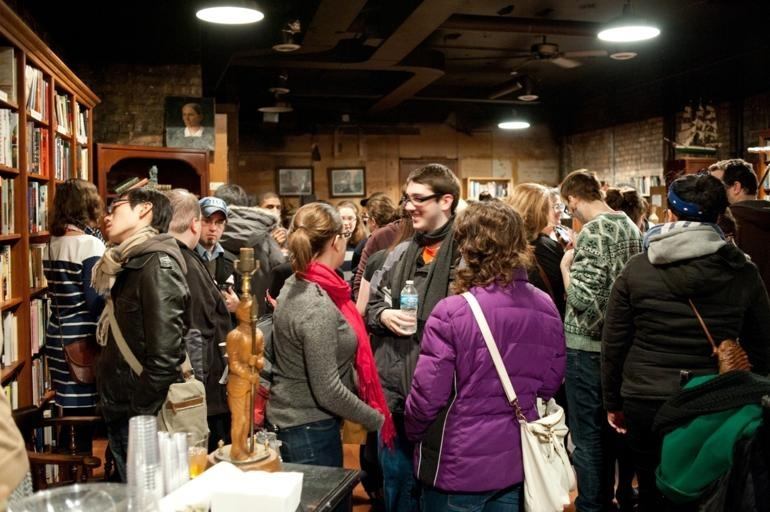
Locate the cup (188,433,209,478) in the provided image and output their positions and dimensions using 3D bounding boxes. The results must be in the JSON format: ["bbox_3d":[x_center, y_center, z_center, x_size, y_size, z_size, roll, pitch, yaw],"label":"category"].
[{"bbox_3d":[-0.880,0.954,2.949,0.134,0.142,0.136,-6,-20,-2],"label":"cup"}]

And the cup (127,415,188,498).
[{"bbox_3d":[-0.934,0.825,2.625,0.242,0.331,0.125,0,-2,-22],"label":"cup"}]

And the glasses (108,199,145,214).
[{"bbox_3d":[-1.531,-0.275,3.721,0.128,0.037,0.104,2,-4,-40],"label":"glasses"}]

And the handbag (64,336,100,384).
[{"bbox_3d":[-1.982,0.722,4.315,0.292,0.274,0.096,-19,-3,21],"label":"handbag"}]

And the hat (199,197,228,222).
[{"bbox_3d":[-1.289,-0.356,4.697,0.142,0.103,0.197,5,2,-28],"label":"hat"}]

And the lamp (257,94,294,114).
[{"bbox_3d":[-1.707,-2.339,9.991,0.612,0.224,0.564,-1,4,-13],"label":"lamp"}]

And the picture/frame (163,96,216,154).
[{"bbox_3d":[-2.302,-1.540,7.440,0.746,0.795,0.112,4,-8,-15],"label":"picture/frame"}]

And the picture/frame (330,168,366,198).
[{"bbox_3d":[-0.839,-1.567,13.458,0.667,0.523,0.054,-1,1,-4],"label":"picture/frame"}]
